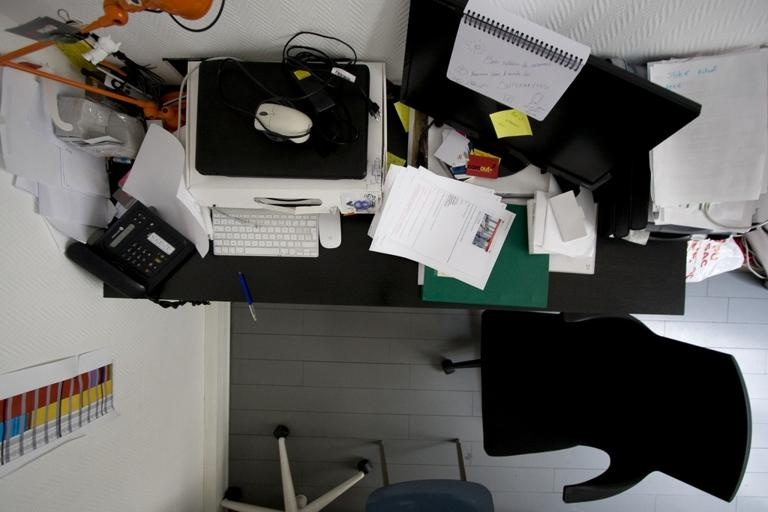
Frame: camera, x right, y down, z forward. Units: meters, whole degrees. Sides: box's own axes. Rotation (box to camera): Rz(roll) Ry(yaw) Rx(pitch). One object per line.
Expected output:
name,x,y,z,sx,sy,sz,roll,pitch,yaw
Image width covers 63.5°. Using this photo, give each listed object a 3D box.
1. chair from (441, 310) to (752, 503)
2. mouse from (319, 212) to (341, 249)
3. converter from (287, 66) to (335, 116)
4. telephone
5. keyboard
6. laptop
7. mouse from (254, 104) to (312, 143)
chair,0.837,0.566,2.358,0.866,0.452,0.686,3,85,-2
mouse,-0.200,-0.097,2.317,0.087,0.035,0.127,-1,85,-2
converter,-0.238,-0.571,2.103,0.079,0.029,0.184,-30,87,-5
telephone,-0.895,-0.026,2.245,0.368,0.147,0.358,39,90,-19
keyboard,-0.440,-0.088,2.309,0.398,0.046,0.166,3,85,-2
laptop,-0.400,-0.443,2.245,0.570,0.137,0.400,1,92,1
mouse,-0.336,-0.465,2.088,0.186,0.062,0.136,12,75,0
